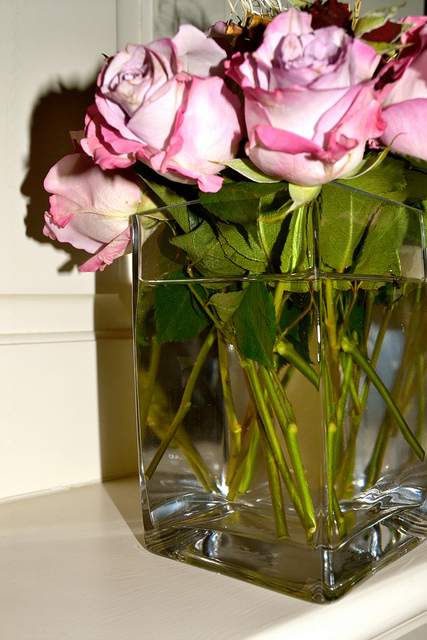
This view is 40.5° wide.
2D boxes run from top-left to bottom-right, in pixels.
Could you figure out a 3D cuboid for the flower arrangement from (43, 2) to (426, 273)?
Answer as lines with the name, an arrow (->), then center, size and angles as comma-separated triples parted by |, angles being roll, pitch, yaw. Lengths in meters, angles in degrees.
flower arrangement -> 0.010, -0.095, 0.329 | 0.180, 0.167, 0.119 | 3, 49, -1
